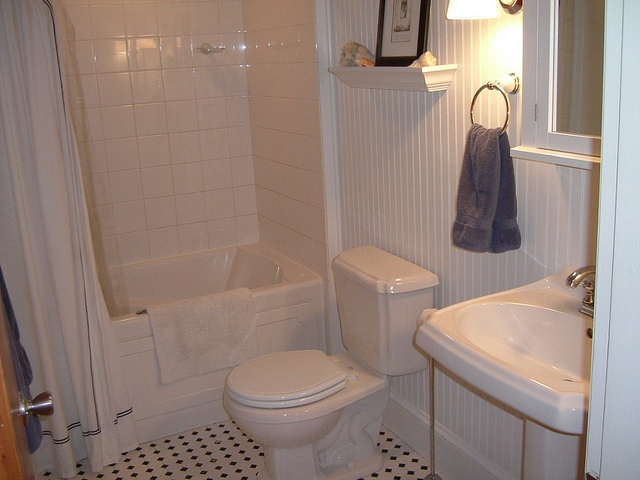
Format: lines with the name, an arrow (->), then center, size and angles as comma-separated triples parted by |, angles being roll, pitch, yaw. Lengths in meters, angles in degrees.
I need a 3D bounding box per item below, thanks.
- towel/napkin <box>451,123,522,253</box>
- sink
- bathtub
towel/napkin -> 0.572, -0.166, 1.851 | 0.237, 0.427, 0.152 | 4, 20, 21
sink -> 0.593, 0.401, 1.631 | 0.424, 0.192, 0.474 | -7, 19, -27
bathtub -> -0.654, 0.211, 3.049 | 1.222, 0.704, 0.869 | -11, 17, -32
